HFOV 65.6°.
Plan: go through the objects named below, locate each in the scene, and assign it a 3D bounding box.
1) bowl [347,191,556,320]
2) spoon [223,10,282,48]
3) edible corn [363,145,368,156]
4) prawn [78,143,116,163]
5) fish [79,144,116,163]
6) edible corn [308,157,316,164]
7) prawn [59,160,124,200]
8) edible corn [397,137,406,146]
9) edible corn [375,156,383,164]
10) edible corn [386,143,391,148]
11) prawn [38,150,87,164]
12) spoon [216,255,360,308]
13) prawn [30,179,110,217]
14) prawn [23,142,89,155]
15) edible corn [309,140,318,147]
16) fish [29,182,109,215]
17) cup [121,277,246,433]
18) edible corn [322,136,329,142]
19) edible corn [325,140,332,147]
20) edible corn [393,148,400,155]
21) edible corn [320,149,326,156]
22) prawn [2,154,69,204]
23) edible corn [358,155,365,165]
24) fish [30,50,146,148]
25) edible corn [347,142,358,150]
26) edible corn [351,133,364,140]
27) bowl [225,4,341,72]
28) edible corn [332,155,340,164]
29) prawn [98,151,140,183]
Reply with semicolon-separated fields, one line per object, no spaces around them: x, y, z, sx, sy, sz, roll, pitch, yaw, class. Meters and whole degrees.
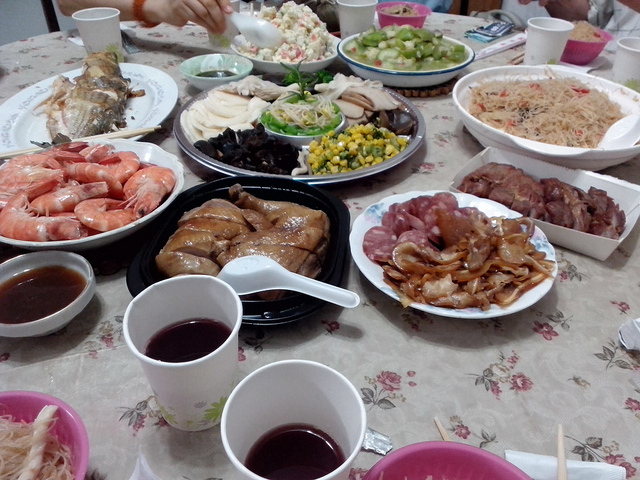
0.426;0.002;1.596;0.665;0.120;0.526;3;47;2;bowl
-0.355;-1.156;2.777;0.413;0.119;0.129;28;35;20;spoon
0.189;-0.370;2.074;0.021;0.030;0.005;3;7;-9;edible corn
-0.842;-0.331;1.875;0.076;0.037;0.103;-1;28;13;prawn
-0.846;-0.314;1.882;0.070;0.027;0.104;33;49;29;fish
-0.032;-0.334;2.078;0.030;0.010;0.029;28;18;-24;edible corn
-0.799;-0.222;1.756;0.157;0.042;0.153;34;2;-14;prawn
0.358;-0.430;2.175;0.033;0.013;0.053;-1;34;1;edible corn
0.251;-0.335;2.080;0.025;0.007;0.023;-1;77;-19;edible corn
0.295;-0.407;2.133;0.017;0.006;0.023;10;37;18;edible corn
-0.974;-0.325;1.878;0.138;0.033;0.079;3;25;18;prawn
-0.097;0.154;1.487;0.443;0.078;0.154;7;39;5;spoon
-0.868;-0.151;1.736;0.250;0.064;0.143;-11;24;-17;prawn
-1.033;-0.360;1.957;0.132;0.019;0.091;-16;38;-25;prawn
-0.029;-0.420;2.173;0.035;0.008;0.033;-26;48;-32;edible corn
-0.858;-0.146;1.693;0.202;0.052;0.110;-12;24;-25;fish
-0.340;0.313;1.294;0.307;0.320;0.315;1;47;-1;cup
0.024;-0.428;2.115;0.022;0.016;0.022;-28;77;19;edible corn
0.035;-0.411;2.106;0.022;0.029;0.028;21;83;2;edible corn
0.329;-0.380;2.130;0.018;0.015;0.017;15;41;23;edible corn
0.012;-0.368;2.079;0.018;0.006;0.028;-4;41;19;edible corn
-1.026;-0.239;1.782;0.182;0.064;0.211;0;38;-5;prawn
0.177;-0.331;2.049;0.019;0.012;0.037;-10;48;-13;edible corn
-1.111;-0.667;2.390;0.582;0.166;0.585;5;50;-24;fish
0.135;-0.390;2.059;0.035;0.015;0.034;1;77;1;edible corn
0.162;-0.444;2.108;0.032;0.012;0.031;9;38;17;edible corn
-0.155;-1.148;2.806;0.552;0.248;0.580;-1;42;1;bowl
0.068;-0.330;2.038;0.031;0.014;0.029;-2;89;6;edible corn
-0.740;-0.290;1.847;0.134;0.057;0.114;30;54;27;prawn
